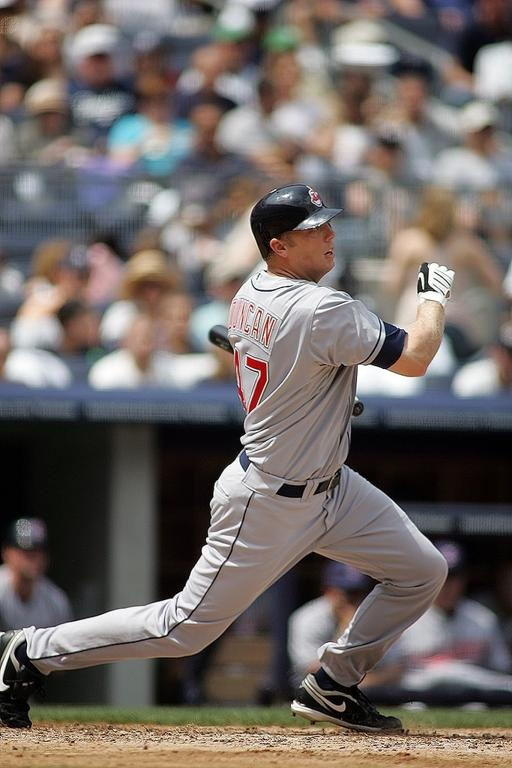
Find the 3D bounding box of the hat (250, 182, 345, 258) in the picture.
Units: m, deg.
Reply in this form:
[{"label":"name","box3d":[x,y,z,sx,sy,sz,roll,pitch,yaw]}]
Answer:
[{"label":"hat","box3d":[0.115,-0.564,4.696,0.303,0.162,0.202,-24,15,14]}]

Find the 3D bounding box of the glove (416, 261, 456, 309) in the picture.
[{"label":"glove","box3d":[0.588,-0.331,4.745,0.129,0.054,0.132,14,73,0]}]

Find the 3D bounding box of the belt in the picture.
[{"label":"belt","box3d":[0.117,0.305,4.587,0.207,0.044,0.194,14,24,5]}]
